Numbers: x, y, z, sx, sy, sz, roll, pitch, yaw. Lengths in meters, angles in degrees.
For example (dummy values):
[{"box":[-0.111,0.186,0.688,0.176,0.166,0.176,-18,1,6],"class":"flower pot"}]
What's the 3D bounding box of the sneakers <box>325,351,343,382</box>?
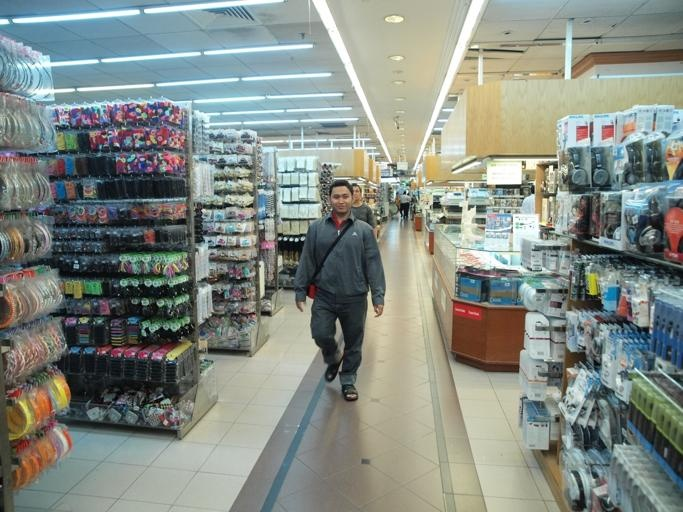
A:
[{"box":[-0.083,0.960,4.581,0.121,0.346,0.141,7,-29,17],"class":"sneakers"}]
